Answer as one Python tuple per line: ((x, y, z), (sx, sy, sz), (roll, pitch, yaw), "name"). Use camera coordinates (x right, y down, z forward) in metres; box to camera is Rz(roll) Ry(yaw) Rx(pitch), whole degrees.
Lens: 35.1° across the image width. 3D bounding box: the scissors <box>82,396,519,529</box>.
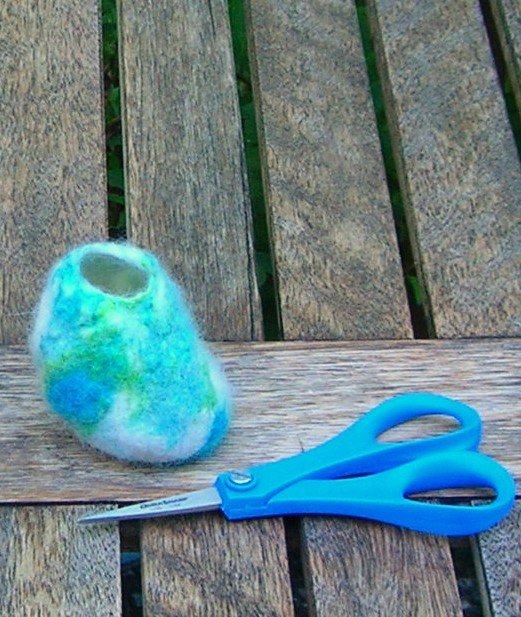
((0.056, 0.182, 0.893), (0.482, 0.052, 0.163), (-3, 37, -14), "scissors")
